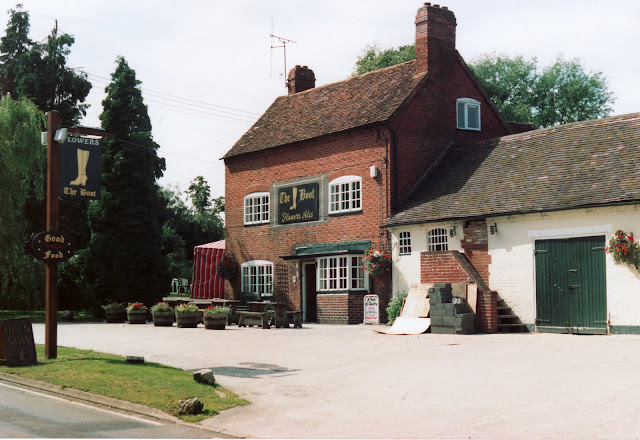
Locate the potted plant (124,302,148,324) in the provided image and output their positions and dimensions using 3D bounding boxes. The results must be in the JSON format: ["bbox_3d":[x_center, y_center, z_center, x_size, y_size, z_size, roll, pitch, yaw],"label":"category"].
[{"bbox_3d":[-8.908,4.497,35.596,1.017,1.097,1.066,0,-1,-16],"label":"potted plant"}]

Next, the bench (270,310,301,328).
[{"bbox_3d":[-1.540,4.402,32.550,0.940,0.467,0.948,-3,-6,18],"label":"bench"}]

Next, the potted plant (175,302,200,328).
[{"bbox_3d":[-5.959,4.256,32.336,1.014,0.658,0.906,-6,-9,38],"label":"potted plant"}]

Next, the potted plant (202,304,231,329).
[{"bbox_3d":[-4.503,4.215,31.482,0.920,0.641,1.004,3,-11,-21],"label":"potted plant"}]

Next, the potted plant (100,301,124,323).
[{"bbox_3d":[-10.346,4.595,36.741,1.356,0.939,1.117,2,-2,-21],"label":"potted plant"}]

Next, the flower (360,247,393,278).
[{"bbox_3d":[2.540,1.999,33.806,1.201,1.206,1.211,2,-33,-13],"label":"flower"}]

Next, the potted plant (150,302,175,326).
[{"bbox_3d":[-7.118,4.242,33.265,0.985,0.956,0.941,1,-1,-12],"label":"potted plant"}]
